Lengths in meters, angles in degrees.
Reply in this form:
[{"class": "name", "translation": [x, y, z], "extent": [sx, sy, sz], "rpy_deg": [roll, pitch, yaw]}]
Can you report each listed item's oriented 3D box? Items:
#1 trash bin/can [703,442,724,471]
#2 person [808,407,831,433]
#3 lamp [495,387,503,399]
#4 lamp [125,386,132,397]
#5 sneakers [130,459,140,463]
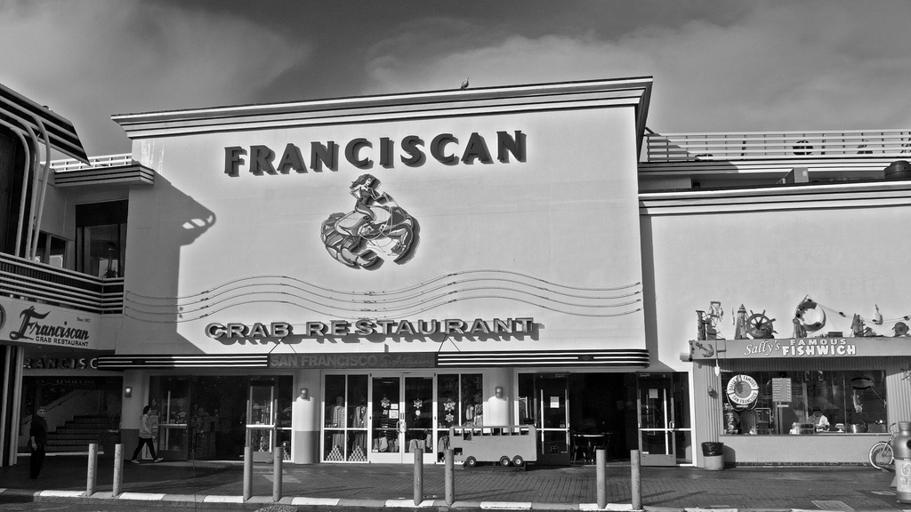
[{"class": "trash bin/can", "translation": [12.024, 9.292, 47.680], "extent": [0.948, 1.309, 0.781], "rpy_deg": [-4, -17, 8]}, {"class": "person", "translation": [17.135, 7.677, 47.865], "extent": [0.868, 1.053, 0.400], "rpy_deg": [6, -4, 8]}, {"class": "lamp", "translation": [2.161, 6.568, 49.506], "extent": [0.391, 0.584, 0.178], "rpy_deg": [-2, -17, 2]}, {"class": "lamp", "translation": [-16.323, 6.774, 51.300], "extent": [0.420, 0.549, 0.397], "rpy_deg": [-2, -5, -7]}, {"class": "sneakers", "translation": [-15.558, 10.002, 50.043], "extent": [0.490, 0.189, 0.157], "rpy_deg": [-4, -10, 14]}]
